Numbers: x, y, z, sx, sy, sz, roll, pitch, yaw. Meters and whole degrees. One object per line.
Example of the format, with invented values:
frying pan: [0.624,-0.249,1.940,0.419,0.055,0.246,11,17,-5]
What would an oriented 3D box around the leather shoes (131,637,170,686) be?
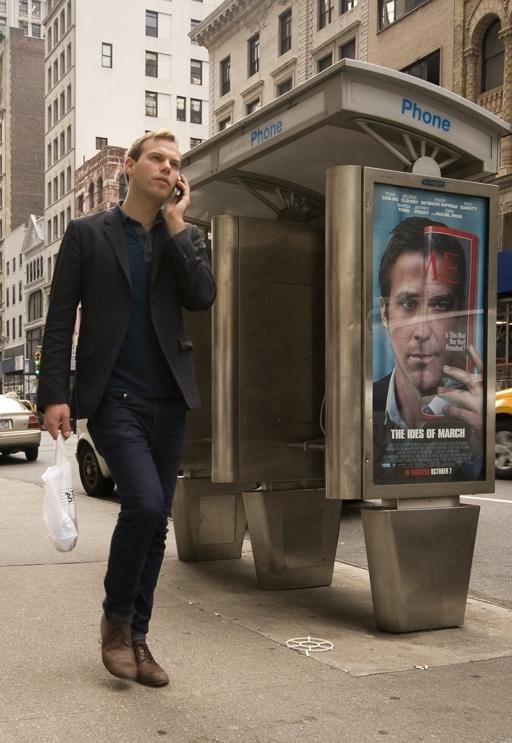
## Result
leather shoes: [-0.362,1.015,2.835,0.066,0.081,0.196,1,-6,-22]

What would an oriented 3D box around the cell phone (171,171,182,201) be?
cell phone: [-0.308,-0.714,3.219,0.029,0.094,0.065,10,0,8]

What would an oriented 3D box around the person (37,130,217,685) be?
person: [-0.486,0.132,3.028,0.592,2.052,0.720,1,4,3]

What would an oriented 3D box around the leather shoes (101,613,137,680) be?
leather shoes: [-0.465,0.947,2.815,0.110,0.182,0.206,0,4,-14]
